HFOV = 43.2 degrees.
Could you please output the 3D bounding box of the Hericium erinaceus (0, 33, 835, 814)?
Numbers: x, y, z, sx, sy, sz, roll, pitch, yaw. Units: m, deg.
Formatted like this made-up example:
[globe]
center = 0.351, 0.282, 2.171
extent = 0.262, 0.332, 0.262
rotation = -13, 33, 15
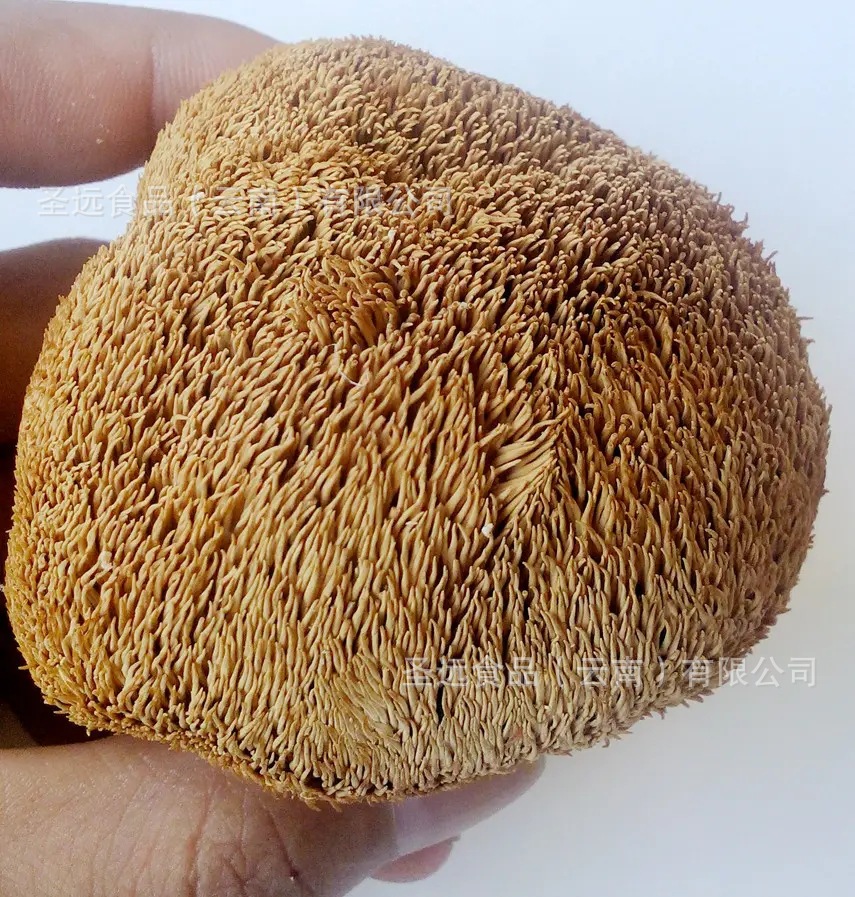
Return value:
[Hericium erinaceus]
center = 0.002, -0.030, 0.680
extent = 0.507, 0.418, 0.216
rotation = 5, -1, 10
